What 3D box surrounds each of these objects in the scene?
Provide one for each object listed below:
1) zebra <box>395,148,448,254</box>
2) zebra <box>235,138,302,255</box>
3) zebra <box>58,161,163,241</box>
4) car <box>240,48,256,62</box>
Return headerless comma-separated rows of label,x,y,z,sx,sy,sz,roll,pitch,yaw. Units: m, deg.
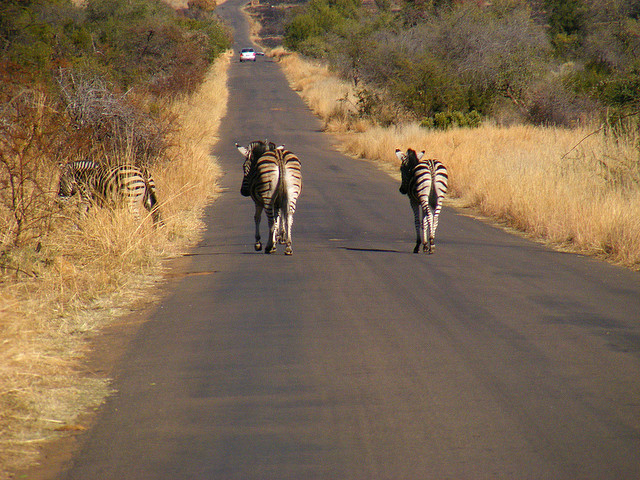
zebra,2.190,-0.896,16.576,0.630,2.250,2.799,0,2,-5
zebra,-1.081,-0.906,16.293,1.082,2.154,2.377,-3,16,-13
zebra,-4.118,-0.647,15.038,1.930,1.655,1.475,-3,16,-15
car,-8.043,-20.480,84.732,1.594,1.313,2.374,-1,16,-5
